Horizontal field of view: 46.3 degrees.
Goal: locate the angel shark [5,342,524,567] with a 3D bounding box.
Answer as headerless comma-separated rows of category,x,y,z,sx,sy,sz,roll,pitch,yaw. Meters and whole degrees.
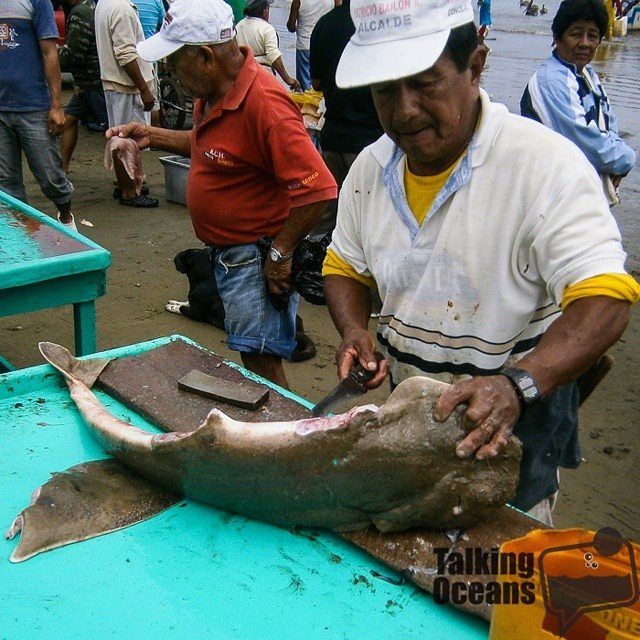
angel shark,-0.127,0.290,1.996,1.127,0.223,0.548,1,6,27

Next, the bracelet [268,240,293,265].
bracelet,-0.187,-0.296,3.266,0.105,0.062,0.088,-8,45,-40

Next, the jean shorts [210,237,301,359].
jean shorts,-0.292,-0.110,3.502,0.323,0.519,0.482,-34,27,-27

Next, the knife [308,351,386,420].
knife,0.075,0.204,2.187,0.081,0.032,0.284,32,55,21
